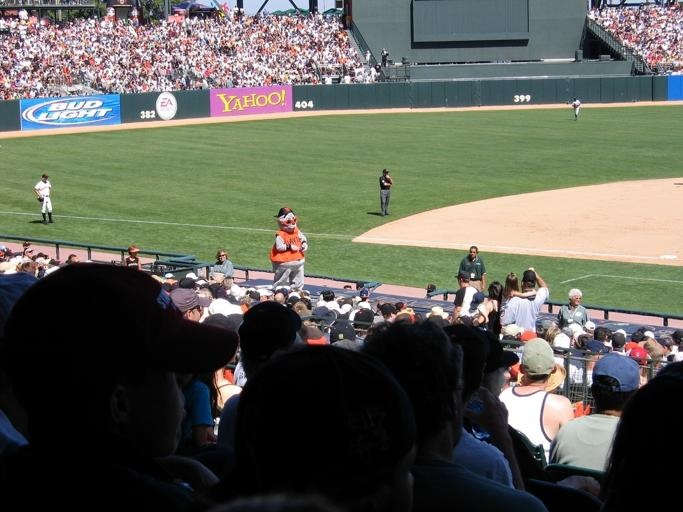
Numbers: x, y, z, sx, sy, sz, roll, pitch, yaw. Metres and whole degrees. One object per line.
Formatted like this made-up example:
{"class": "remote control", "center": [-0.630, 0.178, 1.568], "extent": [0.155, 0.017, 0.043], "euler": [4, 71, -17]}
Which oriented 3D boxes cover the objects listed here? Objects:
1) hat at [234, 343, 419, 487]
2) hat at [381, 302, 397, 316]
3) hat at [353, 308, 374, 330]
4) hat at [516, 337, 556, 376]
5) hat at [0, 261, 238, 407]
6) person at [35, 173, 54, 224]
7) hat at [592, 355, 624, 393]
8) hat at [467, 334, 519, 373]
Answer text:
{"class": "hat", "center": [-0.038, 0.492, 2.856], "extent": [0.520, 0.372, 0.277], "euler": [2, 8, -2]}
{"class": "hat", "center": [0.532, 0.666, 11.543], "extent": [0.168, 0.128, 0.166], "euler": [-14, -1, 38]}
{"class": "hat", "center": [0.260, 0.751, 11.192], "extent": [0.167, 0.197, 0.210], "euler": [9, 11, 6]}
{"class": "hat", "center": [1.311, 0.684, 6.426], "extent": [0.168, 0.128, 0.257], "euler": [2, 48, 13]}
{"class": "hat", "center": [-0.704, 0.192, 3.005], "extent": [0.568, 0.299, 0.402], "euler": [-13, 18, -20]}
{"class": "person", "center": [-7.806, -1.641, 25.236], "extent": [0.446, 1.183, 3.602], "euler": [0, 9, -17]}
{"class": "hat", "center": [1.509, 0.690, 5.476], "extent": [0.141, 0.121, 0.214], "euler": [4, 26, 16]}
{"class": "hat", "center": [0.811, 0.513, 5.055], "extent": [0.317, 0.157, 0.210], "euler": [-5, 25, -22]}
